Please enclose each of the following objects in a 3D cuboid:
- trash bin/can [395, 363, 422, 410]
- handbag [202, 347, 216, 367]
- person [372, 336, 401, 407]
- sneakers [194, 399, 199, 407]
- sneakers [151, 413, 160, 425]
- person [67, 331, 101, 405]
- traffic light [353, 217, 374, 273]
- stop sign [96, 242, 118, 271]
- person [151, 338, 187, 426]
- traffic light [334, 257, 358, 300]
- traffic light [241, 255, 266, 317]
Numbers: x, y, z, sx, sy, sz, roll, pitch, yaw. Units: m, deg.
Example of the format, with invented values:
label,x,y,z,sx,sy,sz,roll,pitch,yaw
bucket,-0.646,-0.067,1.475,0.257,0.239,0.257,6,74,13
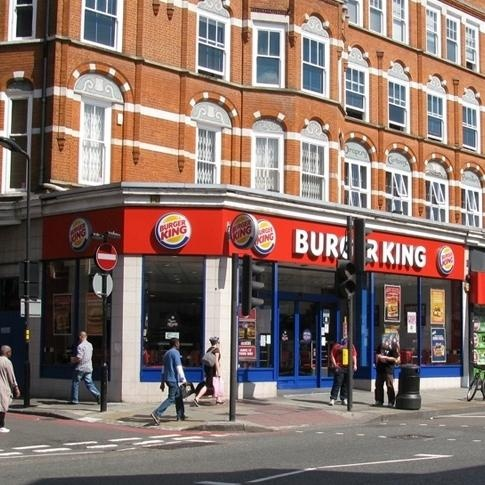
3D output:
label,x,y,z,sx,sy,sz,roll,pitch,yaw
trash bin/can,4.027,3.485,23.377,0.600,1.082,0.685,-1,-8,11
handbag,-0.798,2.760,23.386,0.331,0.456,0.367,-6,-10,36
person,3.666,3.198,24.474,0.627,1.837,1.020,-1,-8,8
sneakers,-1.101,3.824,22.889,0.066,0.250,0.100,-6,15,20
sneakers,-1.788,3.635,19.868,0.138,0.392,0.122,-5,-4,-17
person,-3.853,3.044,23.623,0.700,1.787,1.978,2,-9,-10
traffic light,2.755,0.043,22.120,0.353,1.184,0.370,-1,-8,6
stop sign,-3.143,0.327,22.402,0.078,0.880,0.599,-1,1,36
person,-1.576,3.028,21.013,0.677,1.796,2.645,1,-9,-5
traffic light,2.324,0.796,21.543,0.450,0.845,0.484,-1,-8,5
traffic light,0.174,0.918,20.114,0.406,1.219,0.664,-5,-9,34
